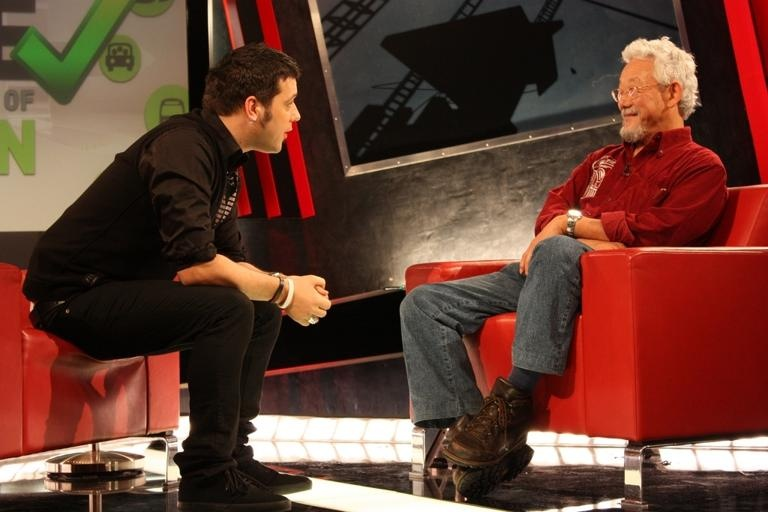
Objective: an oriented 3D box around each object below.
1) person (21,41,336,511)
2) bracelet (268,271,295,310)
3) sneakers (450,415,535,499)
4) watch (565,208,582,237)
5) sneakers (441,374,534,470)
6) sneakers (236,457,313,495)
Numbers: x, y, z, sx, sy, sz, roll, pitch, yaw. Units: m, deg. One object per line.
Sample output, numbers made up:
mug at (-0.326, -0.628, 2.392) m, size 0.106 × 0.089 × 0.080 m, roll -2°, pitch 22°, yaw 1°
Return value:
person at (-0.682, 0.043, 2.350) m, size 0.941 × 1.563 × 0.444 m, roll 0°, pitch -5°, yaw -19°
bracelet at (-0.336, 0.116, 2.314) m, size 0.057 × 0.111 × 0.094 m, roll 1°, pitch -35°, yaw -49°
sneakers at (0.382, 0.629, 2.447) m, size 0.138 × 0.178 × 0.398 m, roll 2°, pitch -1°, yaw 45°
watch at (0.794, -0.130, 2.812) m, size 0.066 × 0.102 × 0.103 m, roll 14°, pitch -1°, yaw 24°
sneakers at (0.377, 0.579, 2.458) m, size 0.185 × 0.244 × 0.430 m, roll 12°, pitch 7°, yaw 38°
sneakers at (-0.410, 0.769, 2.493) m, size 0.344 × 0.112 × 0.126 m, roll -7°, pitch 10°, yaw 27°
